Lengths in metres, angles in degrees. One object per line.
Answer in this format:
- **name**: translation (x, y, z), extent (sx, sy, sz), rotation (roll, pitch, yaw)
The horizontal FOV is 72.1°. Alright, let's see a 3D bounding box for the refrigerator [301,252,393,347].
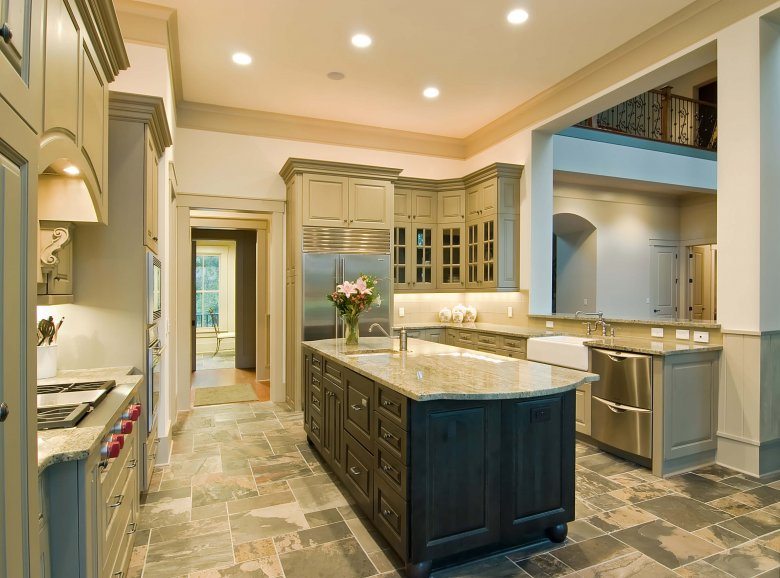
- **refrigerator**: translation (-0.521, 0.111, 5.788), extent (1.021, 1.236, 0.451), rotation (1, -3, -23)

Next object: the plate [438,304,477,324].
- **plate**: translation (0.949, 0.383, 7.427), extent (0.317, 0.170, 0.304), rotation (2, -5, -22)

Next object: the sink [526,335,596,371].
- **sink**: translation (1.704, 0.588, 5.229), extent (0.430, 0.311, 0.879), rotation (-2, 6, -14)

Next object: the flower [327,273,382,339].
- **flower**: translation (-0.314, 0.207, 5.020), extent (0.483, 0.608, 0.549), rotation (14, -16, -40)

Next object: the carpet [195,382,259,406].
- **carpet**: translation (-2.162, 1.375, 7.019), extent (0.763, 0.102, 1.155), rotation (-3, 6, -21)

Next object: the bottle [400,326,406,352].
- **bottle**: translation (0.114, 0.418, 4.411), extent (0.053, 0.175, 0.109), rotation (-1, 6, -2)

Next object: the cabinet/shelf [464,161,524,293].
- **cabinet/shelf**: translation (1.270, -0.760, 6.766), extent (0.373, 1.527, 0.793), rotation (-6, 8, -40)

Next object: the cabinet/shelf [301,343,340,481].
- **cabinet/shelf**: translation (-0.584, 1.051, 4.557), extent (0.368, 0.914, 0.953), rotation (3, -3, -15)

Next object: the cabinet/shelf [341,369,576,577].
- **cabinet/shelf**: translation (0.438, 1.095, 3.632), extent (1.052, 0.961, 1.055), rotation (1, -5, -20)
